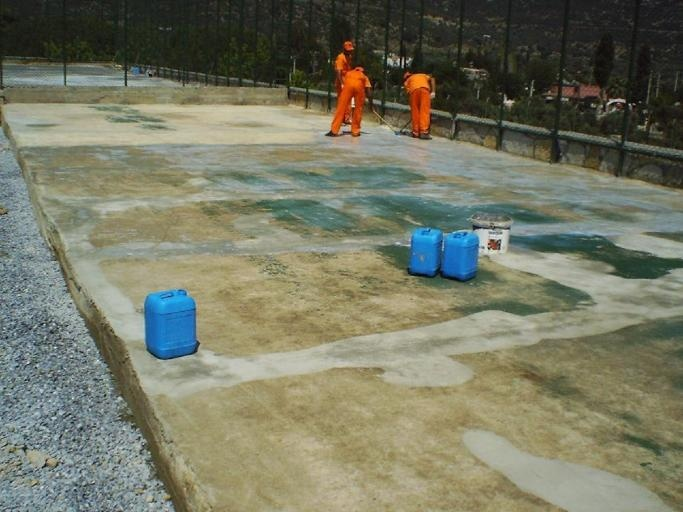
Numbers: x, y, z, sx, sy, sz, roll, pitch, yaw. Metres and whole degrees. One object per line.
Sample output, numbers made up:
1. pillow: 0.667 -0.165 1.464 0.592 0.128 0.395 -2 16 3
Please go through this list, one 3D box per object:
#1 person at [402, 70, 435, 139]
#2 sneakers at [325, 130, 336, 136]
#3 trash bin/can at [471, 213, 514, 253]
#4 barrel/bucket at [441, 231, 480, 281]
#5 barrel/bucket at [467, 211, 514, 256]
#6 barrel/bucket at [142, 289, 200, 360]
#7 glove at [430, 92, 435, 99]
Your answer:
1. person: 2.303 -4.472 17.268 0.847 1.883 0.814 2 18 -8
2. sneakers: -0.316 -3.525 16.701 0.299 0.154 0.396 3 14 -1
3. trash bin/can: 1.841 -0.293 7.174 0.710 0.493 0.598 1 11 5
4. barrel/bucket: 1.243 -0.004 6.065 0.341 0.474 0.368 4 17 -1
5. barrel/bucket: 1.796 -0.257 7.106 0.482 0.380 0.459 1 3 0
6. barrel/bucket: -1.214 0.485 4.162 0.380 0.429 0.325 0 17 -15
7. glove: 2.701 -4.693 16.918 0.182 0.130 0.136 -2 34 -6
